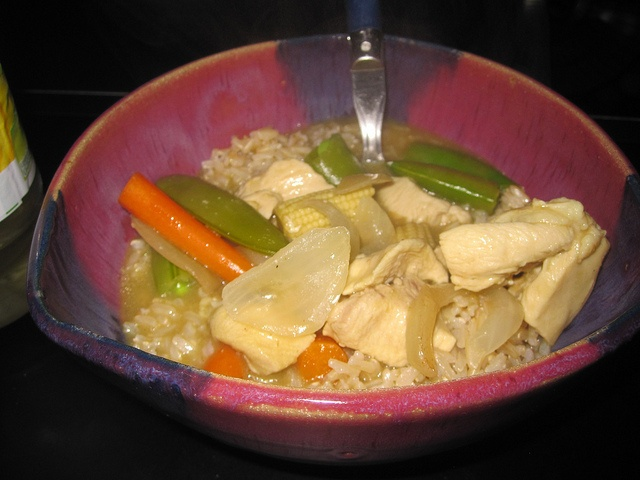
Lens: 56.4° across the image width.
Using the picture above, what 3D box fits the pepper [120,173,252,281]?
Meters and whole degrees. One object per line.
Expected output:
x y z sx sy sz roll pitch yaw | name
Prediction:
-0.311 -0.047 1.404 0.296 0.251 0.240 -11 25 -30 | pepper

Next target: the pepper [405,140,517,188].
0.353 -0.161 1.541 0.319 0.118 0.117 8 53 30 | pepper

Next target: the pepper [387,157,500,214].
0.318 -0.138 1.512 0.321 0.095 0.099 27 17 14 | pepper

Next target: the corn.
0.018 -0.091 1.484 0.266 0.104 0.222 -5 10 1 | corn

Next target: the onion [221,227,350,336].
-0.049 0.088 1.210 0.168 0.051 0.258 39 82 12 | onion
